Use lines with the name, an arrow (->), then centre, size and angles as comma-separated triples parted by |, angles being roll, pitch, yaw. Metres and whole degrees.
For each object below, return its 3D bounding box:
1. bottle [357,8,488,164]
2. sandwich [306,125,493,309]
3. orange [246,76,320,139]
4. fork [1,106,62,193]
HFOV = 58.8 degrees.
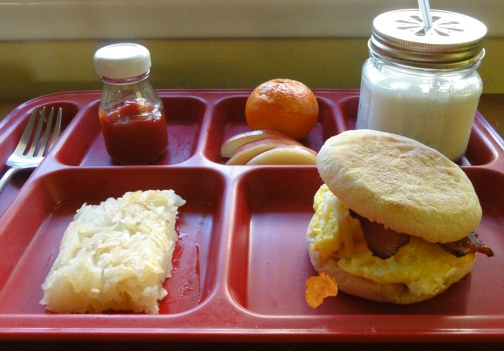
bottle -> 0.429, -0.273, 1.361 | 0.380, 0.436, 0.395 | 3, 35, 4
sandwich -> 0.378, 0.077, 1.129 | 0.455, 0.282, 0.479 | 7, 26, 17
orange -> 0.090, -0.209, 1.462 | 0.263, 0.265, 0.204 | 0, 88, -24
fork -> -0.659, -0.126, 1.445 | 0.071, 0.061, 0.414 | 10, 53, 14
